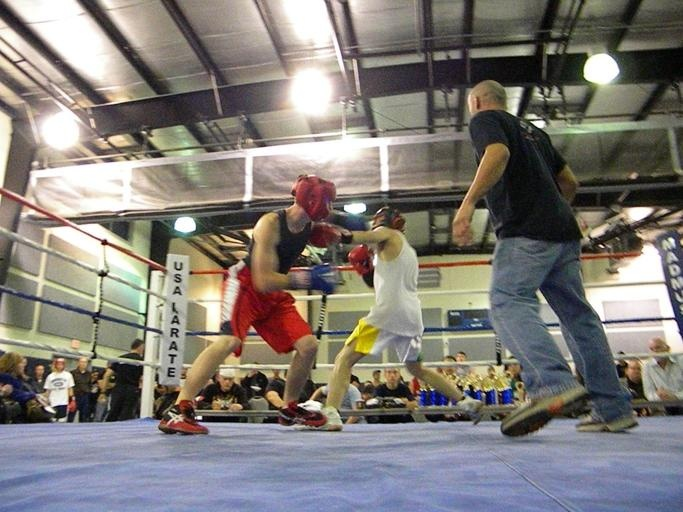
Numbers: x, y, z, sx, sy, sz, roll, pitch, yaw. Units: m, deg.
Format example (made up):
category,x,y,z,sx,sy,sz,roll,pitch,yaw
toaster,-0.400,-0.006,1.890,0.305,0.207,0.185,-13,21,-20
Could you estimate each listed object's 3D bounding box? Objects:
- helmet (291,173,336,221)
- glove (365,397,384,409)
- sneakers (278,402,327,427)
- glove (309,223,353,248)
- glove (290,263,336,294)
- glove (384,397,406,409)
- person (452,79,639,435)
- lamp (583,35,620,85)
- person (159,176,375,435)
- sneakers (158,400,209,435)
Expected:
category,x,y,z,sx,sy,sz,roll,pitch,yaw
helmet,-0.139,-0.303,2.573,0.299,0.202,0.227,0,6,-31
glove,0.261,1.106,3.863,0.110,0.028,0.094,2,13,17
sneakers,-0.217,0.851,2.746,0.303,0.093,0.093,-2,5,10
glove,-0.066,-0.113,2.722,0.184,0.068,0.142,-21,-30,39
glove,-0.133,0.101,2.455,0.229,0.147,0.096,-2,-22,1
glove,0.408,1.114,3.890,0.194,0.075,0.260,0,-3,5
person,0.832,0.042,2.189,0.811,1.379,0.399,19,-31,-42
lamp,2.665,-1.907,5.174,0.356,0.392,0.333,-5,-21,9
person,-0.378,0.227,2.606,0.820,1.274,0.728,10,-25,-26
sneakers,-0.747,0.757,2.410,0.219,0.154,0.125,3,-22,-14
